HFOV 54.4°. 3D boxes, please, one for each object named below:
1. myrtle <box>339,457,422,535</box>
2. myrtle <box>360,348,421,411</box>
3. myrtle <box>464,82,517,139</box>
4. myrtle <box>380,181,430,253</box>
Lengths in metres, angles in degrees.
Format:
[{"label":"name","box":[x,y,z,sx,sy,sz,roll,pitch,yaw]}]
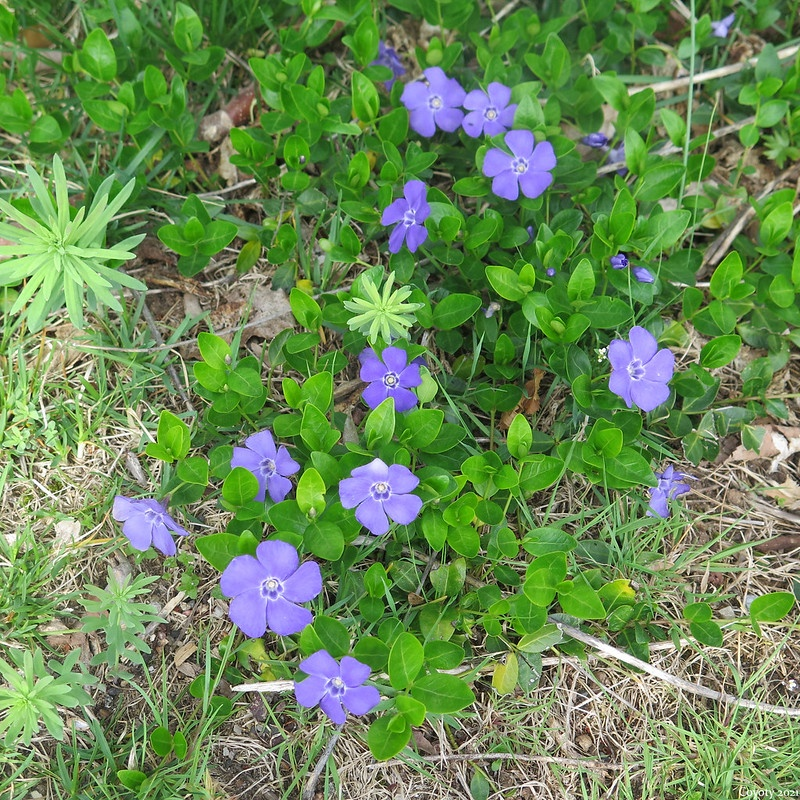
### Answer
[{"label":"myrtle","box":[-0.064,0.324,2.654,0.276,0.063,0.306,-2,47,7]},{"label":"myrtle","box":[-0.028,-0.105,3.028,0.250,0.261,0.070,7,67,-8]},{"label":"myrtle","box":[0.366,-1.203,3.291,0.216,0.206,0.251,8,87,1]},{"label":"myrtle","box":[0.027,-0.733,3.196,0.197,0.335,0.241,-8,86,1]}]
